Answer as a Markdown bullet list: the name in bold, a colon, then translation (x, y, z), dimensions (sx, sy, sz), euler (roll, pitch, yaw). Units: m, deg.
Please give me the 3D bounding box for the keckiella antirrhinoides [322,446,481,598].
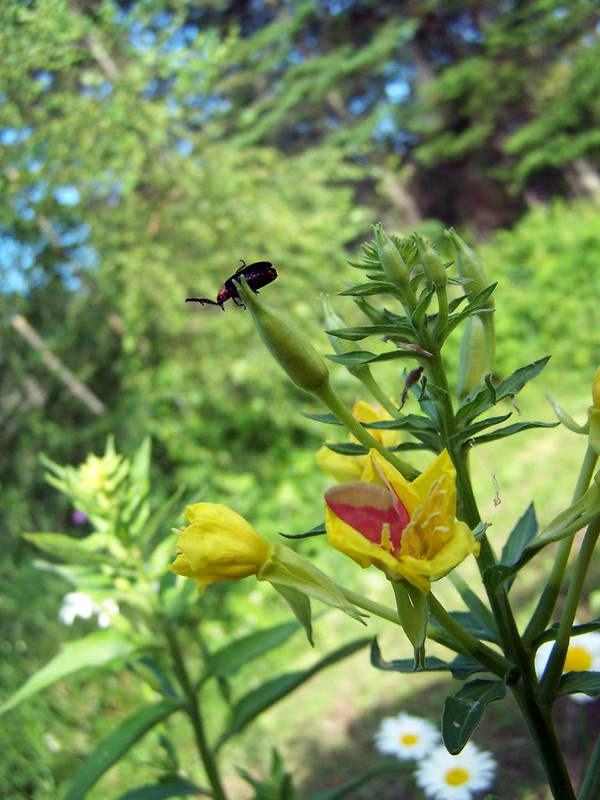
- **keckiella antirrhinoides**: translation (0.092, 0.097, 0.707), dimensions (0.143, 0.136, 0.105), euler (1, 3, 3)
